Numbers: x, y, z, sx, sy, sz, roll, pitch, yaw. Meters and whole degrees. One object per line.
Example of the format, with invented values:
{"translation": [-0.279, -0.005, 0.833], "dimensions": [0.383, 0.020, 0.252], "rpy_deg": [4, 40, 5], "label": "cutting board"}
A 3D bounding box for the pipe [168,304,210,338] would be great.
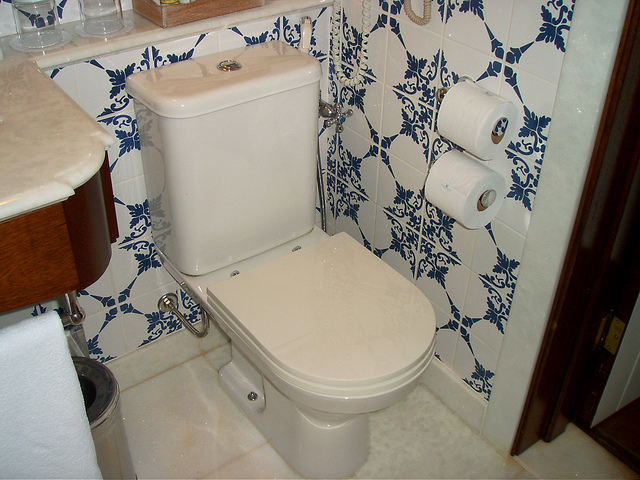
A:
{"translation": [-0.427, 0.260, 1.750], "dimensions": [0.137, 0.031, 0.080], "rpy_deg": [40, 44, 14], "label": "pipe"}

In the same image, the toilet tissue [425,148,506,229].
{"translation": [0.369, -0.130, 1.353], "dimensions": [0.127, 0.136, 0.175], "rpy_deg": [-32, 48, -28], "label": "toilet tissue"}

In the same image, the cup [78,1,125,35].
{"translation": [-0.571, -0.582, 1.374], "dimensions": [0.117, 0.065, 0.123], "rpy_deg": [-3, 42, 3], "label": "cup"}

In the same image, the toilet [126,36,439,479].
{"translation": [-0.095, 0.041, 1.493], "dimensions": [0.472, 0.984, 0.879], "rpy_deg": [-28, 50, -27], "label": "toilet"}
